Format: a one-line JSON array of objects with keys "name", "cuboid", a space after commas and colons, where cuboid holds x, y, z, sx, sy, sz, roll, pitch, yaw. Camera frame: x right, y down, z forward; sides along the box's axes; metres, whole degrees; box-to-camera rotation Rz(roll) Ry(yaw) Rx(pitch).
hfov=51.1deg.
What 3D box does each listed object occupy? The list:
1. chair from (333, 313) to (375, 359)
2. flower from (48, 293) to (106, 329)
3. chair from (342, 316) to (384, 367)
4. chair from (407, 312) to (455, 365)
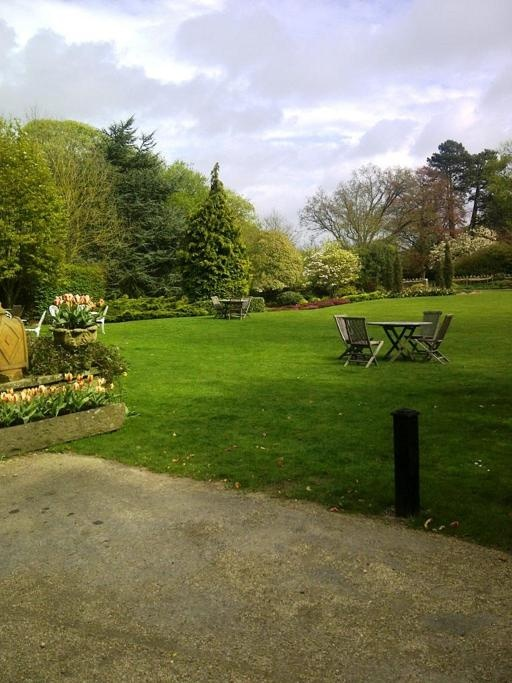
[{"name": "chair", "cuboid": [2.096, -0.138, 12.081, 0.866, 1.199, 1.064, 3, 4, 38]}, {"name": "flower", "cuboid": [-3.109, -0.509, 9.169, 0.766, 0.590, 0.801, -1, 3, -22]}, {"name": "chair", "cuboid": [2.390, -0.027, 12.156, 0.772, 1.044, 2.066, 0, 3, 11]}, {"name": "chair", "cuboid": [4.071, -0.142, 12.526, 0.841, 1.103, 2.090, 1, 3, 18]}]
